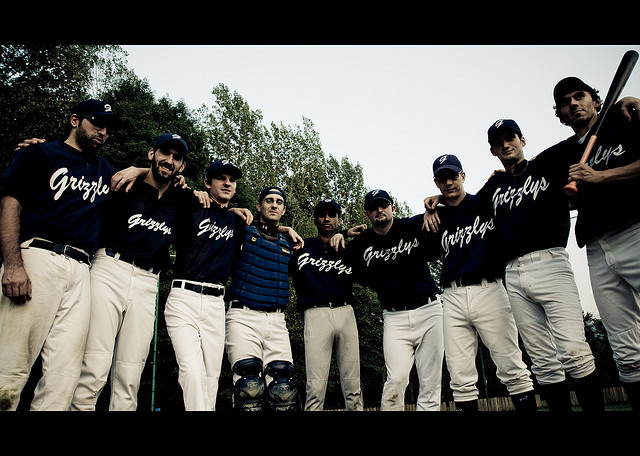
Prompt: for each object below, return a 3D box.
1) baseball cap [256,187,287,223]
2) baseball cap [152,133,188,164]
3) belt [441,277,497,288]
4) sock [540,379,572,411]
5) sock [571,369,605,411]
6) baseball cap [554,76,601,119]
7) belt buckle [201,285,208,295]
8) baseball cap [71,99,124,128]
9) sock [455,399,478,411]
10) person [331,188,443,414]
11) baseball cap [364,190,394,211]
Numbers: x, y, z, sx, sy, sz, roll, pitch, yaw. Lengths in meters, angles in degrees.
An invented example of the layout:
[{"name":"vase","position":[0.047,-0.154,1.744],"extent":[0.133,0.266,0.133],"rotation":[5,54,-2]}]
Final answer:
[{"name":"baseball cap","position":[-0.615,-0.301,6.473],"extent":[0.316,0.441,0.228],"rotation":[3,-1,-3]},{"name":"baseball cap","position":[-1.641,-0.929,5.724],"extent":[0.233,0.342,0.319],"rotation":[18,-28,-29]},{"name":"belt","position":[1.686,0.616,5.805],"extent":[0.577,0.092,0.115],"rotation":[-10,-30,17]},{"name":"sock","position":[2.445,1.751,5.303],"extent":[0.248,0.326,0.299],"rotation":[-14,-31,25]},{"name":"sock","position":[2.642,1.609,5.049],"extent":[0.251,0.385,0.252],"rotation":[-13,-31,23]},{"name":"baseball cap","position":[2.783,-1.379,5.605],"extent":[0.297,0.252,0.492],"rotation":[-40,-35,11]},{"name":"belt buckle","position":[-1.245,0.670,5.517],"extent":[0.022,0.097,0.092],"rotation":[9,-57,32]},{"name":"baseball cap","position":[-2.341,-1.204,5.421],"extent":[0.369,0.201,0.264],"rotation":[3,-10,5]},{"name":"sock","position":[1.608,1.981,5.700],"extent":[0.285,0.120,0.173],"rotation":[-23,-36,36]},{"name":"person","position":[0.950,0.812,6.268],"extent":[1.055,2.589,0.872],"rotation":[-1,-28,3]},{"name":"baseball cap","position":[0.701,-0.394,6.625],"extent":[0.310,0.233,0.511],"rotation":[-9,-9,3]}]
